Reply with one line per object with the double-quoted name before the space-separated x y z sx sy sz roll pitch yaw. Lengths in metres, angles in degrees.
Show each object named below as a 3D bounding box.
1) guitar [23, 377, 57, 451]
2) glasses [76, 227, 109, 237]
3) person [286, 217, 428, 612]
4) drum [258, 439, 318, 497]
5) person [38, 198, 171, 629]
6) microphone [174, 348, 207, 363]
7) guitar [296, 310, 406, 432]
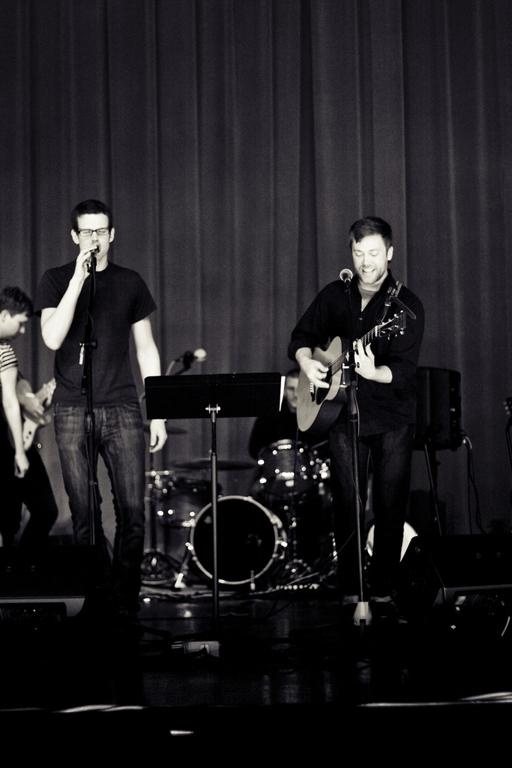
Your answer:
"guitar" -1.079 0.131 4.365 0.096 0.260 0.401 38 -23 -20
"glasses" -0.606 -0.557 3.292 0.128 0.047 0.069 0 6 -15
"person" 0.406 0.065 3.279 0.420 1.338 0.734 0 4 -14
"drum" 0.132 0.398 3.991 0.185 0.201 0.246 -3 -33 -9
"person" -0.559 0.103 3.289 0.487 1.548 0.654 0 4 -17
"microphone" -0.328 -0.136 4.471 0.141 0.062 0.061 1 5 -9
"guitar" 0.323 0.011 3.272 0.059 0.307 0.522 5 -25 -15
